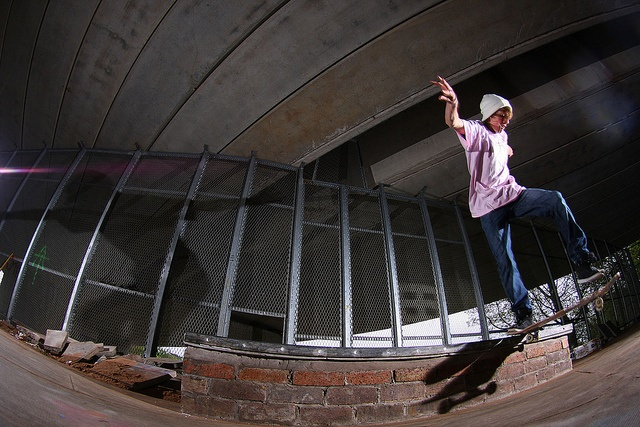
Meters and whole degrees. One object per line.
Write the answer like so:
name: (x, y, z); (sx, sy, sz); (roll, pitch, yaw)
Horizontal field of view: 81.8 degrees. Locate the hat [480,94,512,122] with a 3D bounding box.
hat: (2.302, -1.436, 4.972); (0.354, 0.354, 0.381); (12, -4, 8)
